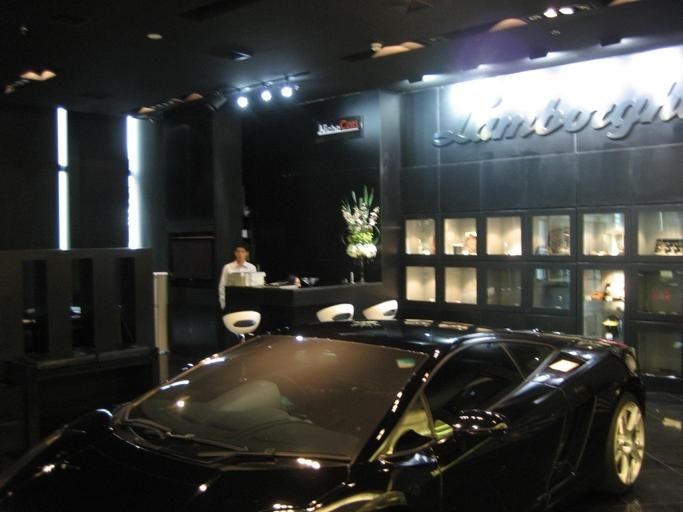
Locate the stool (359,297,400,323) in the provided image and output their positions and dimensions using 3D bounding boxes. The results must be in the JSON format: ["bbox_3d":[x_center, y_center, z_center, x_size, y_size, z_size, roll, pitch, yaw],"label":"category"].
[{"bbox_3d":[0.528,0.726,7.051,0.480,0.248,0.415,-18,-6,-39],"label":"stool"}]

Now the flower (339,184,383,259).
[{"bbox_3d":[0.323,-0.509,8.637,0.606,1.205,0.901,-4,13,0],"label":"flower"}]

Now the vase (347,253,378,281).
[{"bbox_3d":[0.377,0.223,8.750,0.365,0.463,0.671,1,-1,-43],"label":"vase"}]

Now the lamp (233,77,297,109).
[{"bbox_3d":[-1.219,-2.613,8.601,0.993,0.316,1.767,-6,13,-10],"label":"lamp"}]

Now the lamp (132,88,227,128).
[{"bbox_3d":[-2.788,-2.643,9.273,1.907,0.496,0.659,-4,5,44],"label":"lamp"}]
